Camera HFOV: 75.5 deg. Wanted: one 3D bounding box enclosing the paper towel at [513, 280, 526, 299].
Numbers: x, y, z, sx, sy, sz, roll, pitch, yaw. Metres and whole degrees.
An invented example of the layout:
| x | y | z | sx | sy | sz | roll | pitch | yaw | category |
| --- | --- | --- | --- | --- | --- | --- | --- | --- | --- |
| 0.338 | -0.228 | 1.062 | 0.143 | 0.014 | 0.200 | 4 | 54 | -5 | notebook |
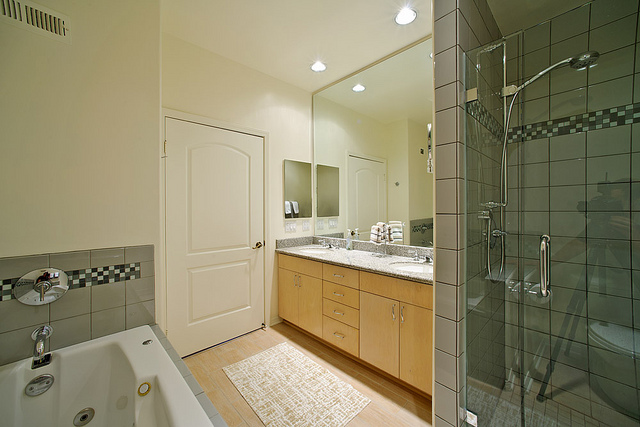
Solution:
| x | y | z | sx | sy | sz | roll | pitch | yaw | category |
| --- | --- | --- | --- | --- | --- | --- | --- | --- | --- |
| 1.653 | 0.614 | 3.421 | 0.038 | 0.121 | 0.087 | -10 | -42 | 43 | paper towel |

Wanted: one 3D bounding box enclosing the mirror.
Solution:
| x | y | z | sx | sy | sz | roll | pitch | yaw | category |
| --- | --- | --- | --- | --- | --- | --- | --- | --- | --- |
| 0.604 | -0.790 | 4.421 | 0.100 | 2.339 | 1.927 | -4 | 4 | -41 | mirror |
